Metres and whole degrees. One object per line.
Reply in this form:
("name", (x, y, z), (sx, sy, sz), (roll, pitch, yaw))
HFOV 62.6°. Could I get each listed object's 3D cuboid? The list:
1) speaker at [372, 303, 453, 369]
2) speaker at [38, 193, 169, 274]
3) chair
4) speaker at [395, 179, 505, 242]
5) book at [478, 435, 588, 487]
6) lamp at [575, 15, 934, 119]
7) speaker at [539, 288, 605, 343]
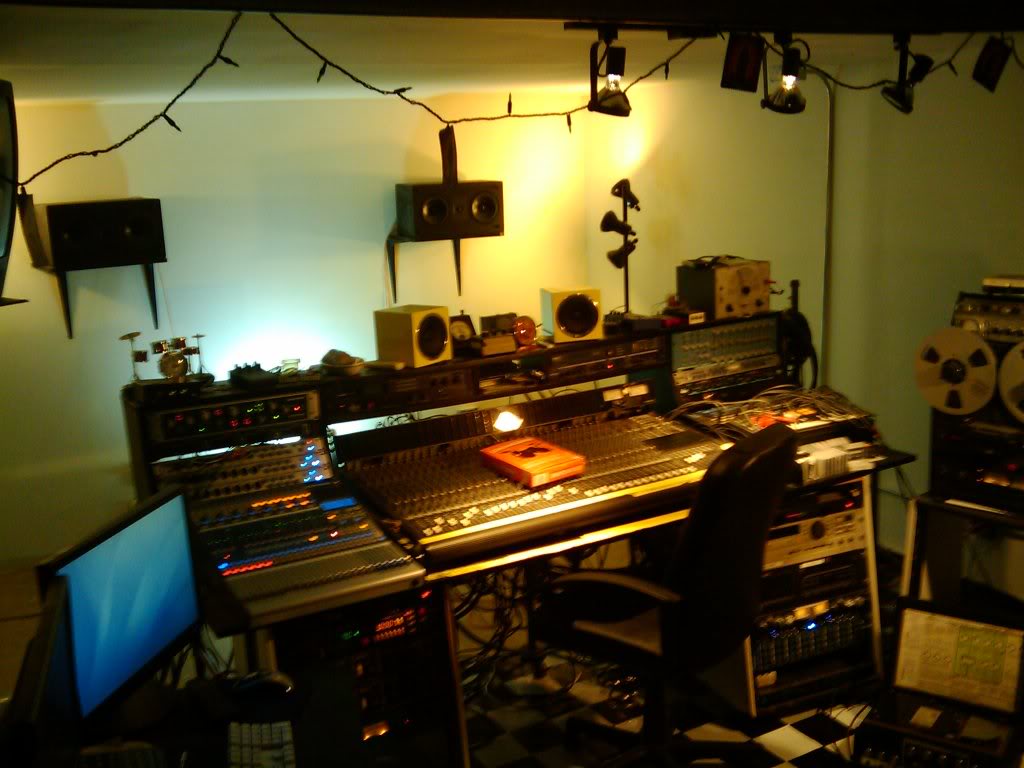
("speaker", (-0.415, -0.206, 3.689), (0.281, 0.276, 0.282), (7, 13, 42))
("speaker", (-2.348, -0.864, 4.882), (0.700, 0.455, 0.409), (-13, 17, -38))
("chair", (0.655, 0.555, 3.279), (0.904, 1.341, 0.929), (10, 17, 39))
("speaker", (-0.482, -1.226, 5.906), (0.813, 0.434, 0.531), (-5, 10, 5))
("book", (0.109, 0.306, 3.356), (0.226, 0.055, 0.241), (-12, 24, -37))
("lamp", (1.002, -1.363, 3.669), (1.377, 0.380, 1.380), (-9, 20, -22))
("speaker", (0.267, -0.325, 3.914), (0.243, 0.240, 0.244), (-2, 11, -18))
